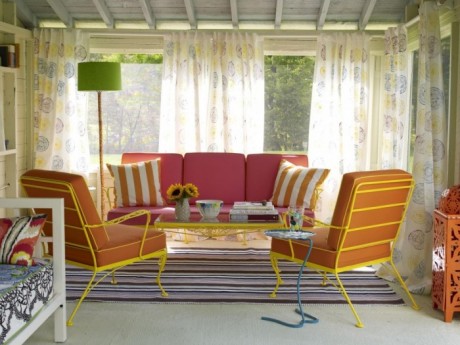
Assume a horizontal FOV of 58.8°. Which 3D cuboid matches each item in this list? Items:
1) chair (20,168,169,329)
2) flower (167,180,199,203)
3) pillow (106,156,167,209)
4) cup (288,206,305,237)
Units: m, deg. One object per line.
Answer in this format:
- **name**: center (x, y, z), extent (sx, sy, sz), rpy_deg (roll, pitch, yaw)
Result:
- **chair**: center (-1.393, 0.480, 3.622), extent (0.953, 1.409, 1.321), rpy_deg (4, 4, 43)
- **flower**: center (-0.416, 0.175, 3.809), extent (0.218, 0.161, 0.224), rpy_deg (-3, 5, 17)
- **pillow**: center (-1.047, 0.115, 4.738), extent (0.572, 0.541, 0.204), rpy_deg (-7, -14, -14)
- **cup**: center (0.498, 0.353, 3.077), extent (0.107, 0.203, 0.110), rpy_deg (0, 11, 0)
